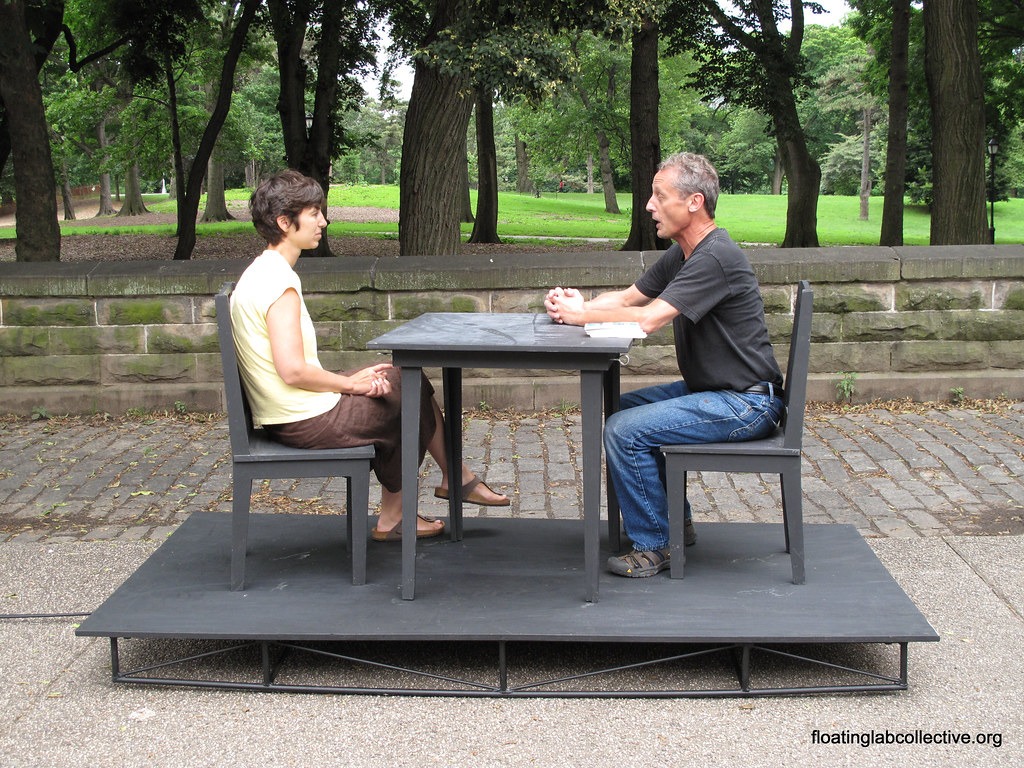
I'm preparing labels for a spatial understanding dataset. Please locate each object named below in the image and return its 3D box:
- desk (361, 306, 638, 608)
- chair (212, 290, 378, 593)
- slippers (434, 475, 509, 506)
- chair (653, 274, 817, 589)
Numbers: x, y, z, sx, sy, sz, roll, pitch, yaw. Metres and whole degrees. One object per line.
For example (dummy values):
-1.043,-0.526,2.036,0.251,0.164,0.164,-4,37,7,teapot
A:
-0.022,0.316,6.368,1.251,1.267,1.319,0,13,5,desk
-1.111,0.246,6.200,0.777,1.458,0.714,-3,13,-7,chair
-0.236,0.613,6.844,0.445,0.154,0.170,2,8,1,slippers
0.948,0.224,6.291,1.108,1.420,1.152,3,4,25,chair
